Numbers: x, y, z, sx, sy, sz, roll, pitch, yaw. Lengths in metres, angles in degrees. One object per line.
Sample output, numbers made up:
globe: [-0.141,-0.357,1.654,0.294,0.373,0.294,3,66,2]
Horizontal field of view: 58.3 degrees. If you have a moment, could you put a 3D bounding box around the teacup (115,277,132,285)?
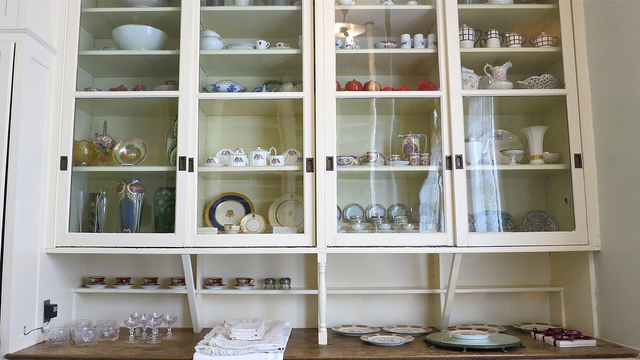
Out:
teacup: [-1.535,0.788,4.475,0.063,0.039,0.064,-1,-2,44]

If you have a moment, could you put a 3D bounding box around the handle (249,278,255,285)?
handle: [-0.542,0.805,4.531,0.040,0.062,0.067,3,5,2]

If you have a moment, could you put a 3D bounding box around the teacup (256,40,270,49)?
teacup: [-0.440,-1.037,4.390,0.088,0.052,0.056,2,-3,-14]

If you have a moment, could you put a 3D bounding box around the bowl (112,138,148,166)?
bowl: [-1.437,-0.210,4.229,0.249,0.210,0.078,1,-7,0]

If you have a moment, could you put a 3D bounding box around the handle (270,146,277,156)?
handle: [-0.352,-0.218,4.300,0.049,0.055,0.009,-8,-26,-10]

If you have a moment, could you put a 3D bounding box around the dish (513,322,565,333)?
dish: [1.707,1.145,4.461,0.385,0.049,0.191,-2,-4,5]

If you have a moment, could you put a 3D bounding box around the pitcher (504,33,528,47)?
pitcher: [1.510,-1.087,4.404,0.103,0.140,0.105,-16,14,25]

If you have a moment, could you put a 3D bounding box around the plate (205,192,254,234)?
plate: [-0.686,0.245,4.277,0.330,0.289,0.051,-2,-3,3]

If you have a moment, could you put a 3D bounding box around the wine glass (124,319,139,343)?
wine glass: [-1.421,1.123,4.316,0.094,0.168,0.193,-1,-5,-15]

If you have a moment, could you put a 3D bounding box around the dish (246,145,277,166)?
dish: [-0.443,-0.183,4.364,0.220,0.138,0.123,0,-2,-5]

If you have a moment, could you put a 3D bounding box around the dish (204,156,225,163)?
dish: [-0.794,-0.156,4.298,0.143,0.047,0.013,-1,-6,-13]

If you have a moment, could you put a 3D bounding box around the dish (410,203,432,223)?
dish: [0.753,0.238,4.204,0.145,0.127,0.028,-7,3,-2]

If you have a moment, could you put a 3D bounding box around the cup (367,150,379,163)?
cup: [0.391,-0.180,4.342,0.110,0.089,0.063,1,-1,0]

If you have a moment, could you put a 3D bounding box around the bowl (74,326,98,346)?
bowl: [-1.690,1.124,4.154,0.151,0.106,0.130,0,-1,-4]

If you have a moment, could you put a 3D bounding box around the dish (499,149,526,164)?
dish: [1.450,-0.172,4.366,0.133,0.067,0.125,0,-8,3]

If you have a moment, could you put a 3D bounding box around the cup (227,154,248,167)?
cup: [-0.622,-0.152,4.305,0.131,0.084,0.092,0,0,-2]

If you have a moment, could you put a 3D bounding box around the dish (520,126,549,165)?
dish: [1.621,-0.280,4.337,0.174,0.328,0.141,2,0,1]

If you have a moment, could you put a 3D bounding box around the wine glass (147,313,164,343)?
wine glass: [-1.242,1.110,4.327,0.104,0.195,0.203,-1,-5,-15]

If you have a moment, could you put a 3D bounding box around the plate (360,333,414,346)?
plate: [0.492,1.186,4.266,0.380,0.054,0.230,-1,-4,-8]

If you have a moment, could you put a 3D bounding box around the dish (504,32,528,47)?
dish: [1.501,-1.077,4.394,0.157,0.094,0.104,3,4,15]

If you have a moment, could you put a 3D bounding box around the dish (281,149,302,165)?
dish: [-0.217,-0.185,4.281,0.127,0.092,0.102,-3,3,-29]

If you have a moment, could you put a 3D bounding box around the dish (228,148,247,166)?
dish: [-0.624,-0.160,4.303,0.094,0.094,0.116,0,-5,1]

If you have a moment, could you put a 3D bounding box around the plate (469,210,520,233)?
plate: [1.290,0.305,4.255,0.359,0.168,0.015,-2,-6,-3]

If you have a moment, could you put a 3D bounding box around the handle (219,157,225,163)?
handle: [-0.740,-0.153,4.306,0.045,0.037,0.010,-10,-15,-11]

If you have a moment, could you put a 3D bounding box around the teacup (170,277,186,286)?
teacup: [-1.125,0.802,4.529,0.102,0.062,0.175,0,-4,-19]

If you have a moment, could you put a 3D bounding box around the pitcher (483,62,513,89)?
pitcher: [1.377,-0.794,4.427,0.230,0.219,0.170,-1,12,20]

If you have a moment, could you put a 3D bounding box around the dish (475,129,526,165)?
dish: [1.356,-0.224,4.314,0.366,0.266,0.235,3,-6,1]

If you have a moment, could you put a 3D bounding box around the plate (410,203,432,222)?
plate: [0.752,0.234,4.205,0.150,0.131,0.029,-7,3,-3]

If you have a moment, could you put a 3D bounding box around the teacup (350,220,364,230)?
teacup: [0.271,0.332,4.235,0.080,0.040,0.070,0,-4,-9]

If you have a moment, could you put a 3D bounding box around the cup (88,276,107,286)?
cup: [-1.755,0.794,4.520,0.087,0.038,0.086,3,-6,0]

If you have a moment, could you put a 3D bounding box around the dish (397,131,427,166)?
dish: [0.671,-0.259,4.179,0.258,0.226,0.136,1,-3,-2]

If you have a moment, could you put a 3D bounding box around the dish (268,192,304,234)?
dish: [-0.254,0.241,4.251,0.258,0.299,0.019,-2,-5,2]

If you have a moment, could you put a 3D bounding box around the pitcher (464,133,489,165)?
pitcher: [1.134,-0.223,4.289,0.234,0.170,0.183,3,0,11]

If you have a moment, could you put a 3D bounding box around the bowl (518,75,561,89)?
bowl: [1.669,-0.743,4.358,0.189,0.059,0.134,0,1,1]

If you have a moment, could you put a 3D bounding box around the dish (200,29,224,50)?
dish: [-0.833,-1.073,4.367,0.123,0.157,0.149,0,-8,-35]

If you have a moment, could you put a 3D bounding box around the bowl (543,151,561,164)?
bowl: [1.746,-0.173,4.306,0.106,0.065,0.099,1,4,0]

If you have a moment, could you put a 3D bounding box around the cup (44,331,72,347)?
cup: [-1.898,1.148,4.145,0.153,0.077,0.130,-1,-1,-31]

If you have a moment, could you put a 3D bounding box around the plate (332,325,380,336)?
plate: [0.282,1.161,4.448,0.346,0.050,0.237,-3,-4,15]

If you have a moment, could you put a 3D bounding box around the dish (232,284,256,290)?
dish: [-0.589,0.838,4.499,0.179,0.033,0.141,-1,-4,-11]

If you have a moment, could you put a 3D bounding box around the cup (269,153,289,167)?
cup: [-0.310,-0.154,4.329,0.140,0.084,0.087,2,-4,-6]

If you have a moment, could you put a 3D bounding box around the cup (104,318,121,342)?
cup: [-1.561,1.129,4.287,0.097,0.144,0.100,-2,-5,0]

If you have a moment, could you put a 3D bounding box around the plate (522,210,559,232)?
plate: [1.626,0.309,4.268,0.190,0.167,0.045,0,-10,6]

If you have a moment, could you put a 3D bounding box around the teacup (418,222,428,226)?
teacup: [0.754,0.321,4.245,0.045,0.027,0.024,1,-8,2]

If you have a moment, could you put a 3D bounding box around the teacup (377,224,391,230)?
teacup: [0.473,0.346,4.240,0.096,0.039,0.016,-1,-5,-11]

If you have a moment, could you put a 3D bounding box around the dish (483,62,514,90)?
dish: [1.378,-0.795,4.425,0.228,0.219,0.175,0,11,25]

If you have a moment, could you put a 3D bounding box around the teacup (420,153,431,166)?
teacup: [0.787,-0.158,4.337,0.093,0.088,0.087,1,-3,-6]

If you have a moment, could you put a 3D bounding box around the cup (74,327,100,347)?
cup: [-1.684,1.133,4.151,0.144,0.101,0.147,0,-6,0]

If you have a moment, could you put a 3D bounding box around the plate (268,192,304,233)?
plate: [-0.257,0.234,4.207,0.316,0.272,0.061,-2,2,7]

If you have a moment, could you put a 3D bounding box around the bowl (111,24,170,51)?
bowl: [-1.392,-1.088,4.402,0.284,0.096,0.263,-3,-14,-1]

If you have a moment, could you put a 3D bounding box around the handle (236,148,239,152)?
handle: [-0.619,-0.224,4.324,0.017,0.022,0.013,1,5,0]

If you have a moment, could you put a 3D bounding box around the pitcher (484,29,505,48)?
pitcher: [1.350,-1.087,4.411,0.148,0.150,0.057,-1,-5,-10]

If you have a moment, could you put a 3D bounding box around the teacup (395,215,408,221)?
teacup: [0.601,0.279,4.247,0.092,0.042,0.016,-1,-5,-10]

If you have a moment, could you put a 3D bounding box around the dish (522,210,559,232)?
dish: [1.636,0.302,4.264,0.261,0.161,0.049,-1,-5,-9]

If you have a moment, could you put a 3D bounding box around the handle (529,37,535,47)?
handle: [1.635,-1.067,4.415,0.044,0.078,0.022,-4,-6,22]

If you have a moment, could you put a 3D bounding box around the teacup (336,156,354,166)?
teacup: [0.172,-0.145,4.263,0.079,0.031,0.074,2,0,-11]

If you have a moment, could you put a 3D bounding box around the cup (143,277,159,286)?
cup: [-1.330,0.794,4.502,0.069,0.038,0.065,-1,-2,0]

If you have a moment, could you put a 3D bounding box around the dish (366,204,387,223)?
dish: [0.419,0.241,4.250,0.152,0.124,0.026,-1,-6,-12]

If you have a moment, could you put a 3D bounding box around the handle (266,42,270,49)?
handle: [-0.401,-1.033,4.387,0.036,0.045,0.012,9,-1,6]

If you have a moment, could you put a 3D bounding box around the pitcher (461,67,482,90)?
pitcher: [1.140,-0.769,4.343,0.191,0.159,0.107,1,9,2]
